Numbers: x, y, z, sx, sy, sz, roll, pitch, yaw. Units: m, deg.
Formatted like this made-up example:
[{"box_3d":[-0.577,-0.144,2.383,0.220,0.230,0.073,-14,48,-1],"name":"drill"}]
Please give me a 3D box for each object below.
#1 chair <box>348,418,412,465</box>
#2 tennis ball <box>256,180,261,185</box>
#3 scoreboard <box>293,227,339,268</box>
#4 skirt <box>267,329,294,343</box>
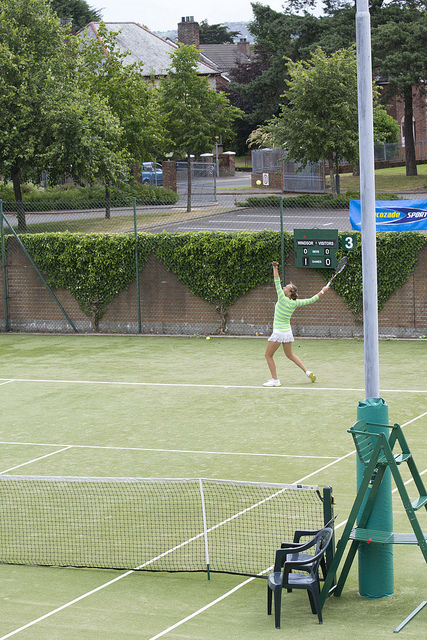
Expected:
[{"box_3d":[1.249,0.911,9.734,0.387,0.312,0.284,4,18,23],"name":"chair"},{"box_3d":[1.996,-5.985,56.941,0.200,0.120,0.197,0,5,0],"name":"tennis ball"},{"box_3d":[1.799,-1.234,22.350,0.882,0.826,0.115,3,8,23],"name":"scoreboard"},{"box_3d":[0.937,0.249,17.331,0.273,0.169,0.169,1,6,7],"name":"skirt"}]
